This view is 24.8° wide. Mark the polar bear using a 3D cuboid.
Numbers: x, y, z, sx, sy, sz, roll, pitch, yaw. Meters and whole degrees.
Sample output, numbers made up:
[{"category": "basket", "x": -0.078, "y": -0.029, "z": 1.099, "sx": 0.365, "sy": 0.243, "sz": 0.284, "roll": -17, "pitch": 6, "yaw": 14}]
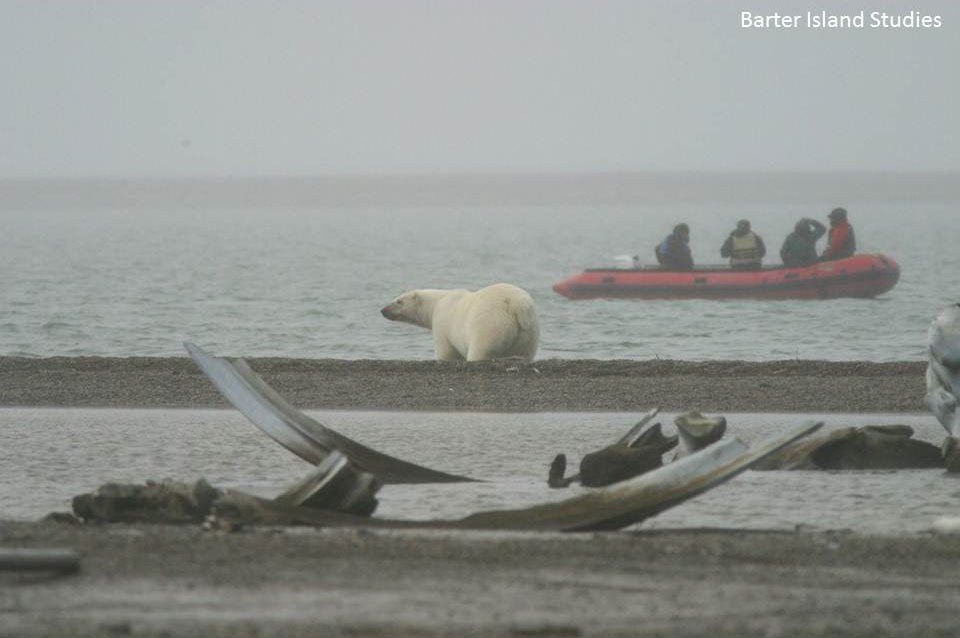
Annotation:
[{"category": "polar bear", "x": -0.364, "y": 0.372, "z": 48.954, "sx": 1.656, "sy": 1.994, "sz": 4.107, "roll": -2, "pitch": 5, "yaw": -42}]
